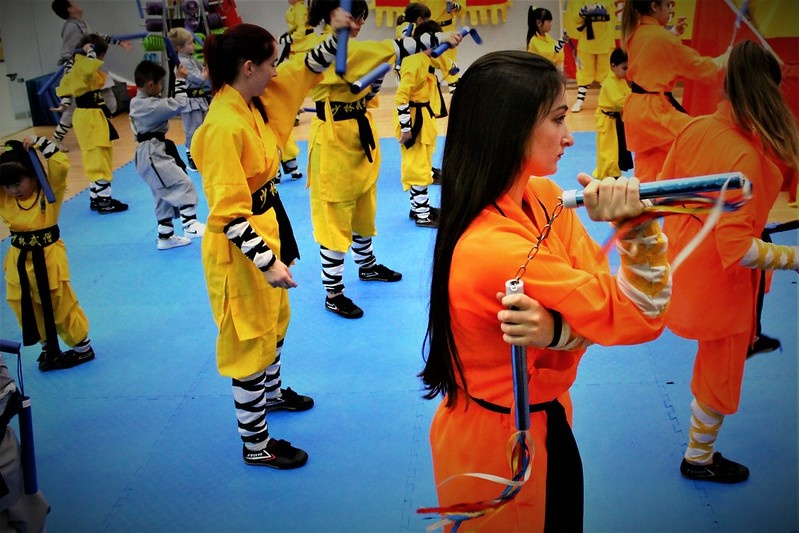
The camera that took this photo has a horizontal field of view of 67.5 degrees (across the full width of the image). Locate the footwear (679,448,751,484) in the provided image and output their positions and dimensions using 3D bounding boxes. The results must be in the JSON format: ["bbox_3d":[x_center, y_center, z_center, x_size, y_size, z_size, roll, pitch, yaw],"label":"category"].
[{"bbox_3d":[1.634,1.048,3.129,0.378,0.145,0.129,-2,15,5],"label":"footwear"}]

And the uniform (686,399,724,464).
[{"bbox_3d":[1.524,0.822,3.026,0.164,0.351,0.122,-1,13,-8],"label":"uniform"}]

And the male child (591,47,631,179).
[{"bbox_3d":[2.280,-1.509,6.146,0.570,1.399,0.528,-3,30,17],"label":"male child"}]

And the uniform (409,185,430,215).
[{"bbox_3d":[0.219,-0.696,5.998,0.265,0.357,0.288,-6,11,3],"label":"uniform"}]

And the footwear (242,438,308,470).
[{"bbox_3d":[-0.668,1.034,3.312,0.391,0.138,0.142,1,8,-4],"label":"footwear"}]

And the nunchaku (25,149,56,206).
[{"bbox_3d":[-2.261,-0.588,3.773,0.088,0.400,0.059,-22,-8,0],"label":"nunchaku"}]

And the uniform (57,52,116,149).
[{"bbox_3d":[-3.482,-1.886,6.686,0.475,1.056,0.682,-13,19,-37],"label":"uniform"}]

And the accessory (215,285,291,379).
[{"bbox_3d":[-0.770,0.332,3.111,0.274,0.420,0.485,10,29,16],"label":"accessory"}]

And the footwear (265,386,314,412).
[{"bbox_3d":[-0.660,0.828,3.718,0.338,0.128,0.115,0,5,-7],"label":"footwear"}]

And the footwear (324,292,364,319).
[{"bbox_3d":[-0.419,0.306,4.527,0.330,0.130,0.135,14,26,25],"label":"footwear"}]
